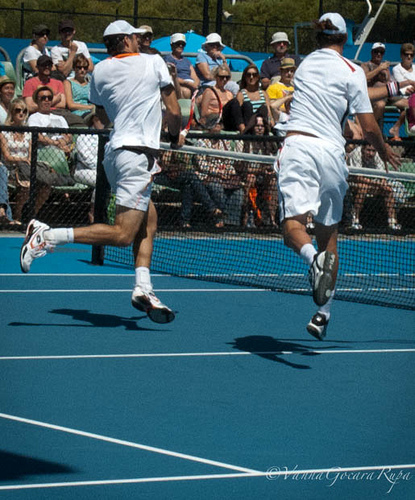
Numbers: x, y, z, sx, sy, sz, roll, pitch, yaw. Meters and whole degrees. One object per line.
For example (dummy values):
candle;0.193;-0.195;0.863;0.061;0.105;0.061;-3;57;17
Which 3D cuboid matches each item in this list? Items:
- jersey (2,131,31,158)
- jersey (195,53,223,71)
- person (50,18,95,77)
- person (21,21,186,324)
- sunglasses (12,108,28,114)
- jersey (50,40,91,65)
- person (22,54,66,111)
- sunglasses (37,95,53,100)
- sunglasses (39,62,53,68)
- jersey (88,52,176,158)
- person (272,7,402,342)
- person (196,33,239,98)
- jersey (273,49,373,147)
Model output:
jersey;-2.674;-1.467;9.035;0.403;0.348;0.083;3;15;3
jersey;0.043;-3.582;12.311;0.552;0.334;0.433;0;14;-8
person;-2.403;-3.558;11.582;0.785;1.088;0.806;-17;33;-38
person;-0.731;-0.528;4.946;1.040;2.418;1.103;2;14;-3
sunglasses;-2.718;-2.020;9.388;0.093;0.078;0.268;8;14;21
jersey;-2.571;-3.583;11.849;0.981;0.346;0.888;-6;6;-12
person;-2.633;-2.687;10.408;0.738;0.970;0.553;2;20;-22
sunglasses;-2.382;-2.251;9.524;0.201;0.068;0.089;-7;16;-33
sunglasses;-2.581;-2.944;10.277;0.197;0.091;0.138;-3;15;-21
jersey;-0.611;-1.113;4.957;0.548;0.796;0.433;15;19;40
person;0.745;-0.614;4.188;0.727;1.880;1.183;7;15;18
person;0.205;-3.337;12.265;0.618;1.479;0.831;-12;16;-35
jersey;0.796;-1.025;4.302;0.382;0.575;0.628;-15;31;-41
